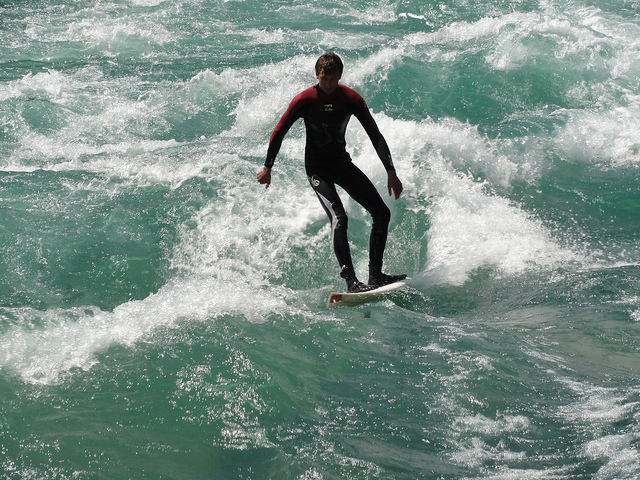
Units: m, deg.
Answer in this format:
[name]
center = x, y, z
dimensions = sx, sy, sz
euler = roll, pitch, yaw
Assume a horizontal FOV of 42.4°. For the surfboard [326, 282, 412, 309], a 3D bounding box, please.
[surfboard]
center = 0.643, 0.795, 12.606
dimensions = 1.846, 0.416, 0.352
euler = 2, 61, -33
